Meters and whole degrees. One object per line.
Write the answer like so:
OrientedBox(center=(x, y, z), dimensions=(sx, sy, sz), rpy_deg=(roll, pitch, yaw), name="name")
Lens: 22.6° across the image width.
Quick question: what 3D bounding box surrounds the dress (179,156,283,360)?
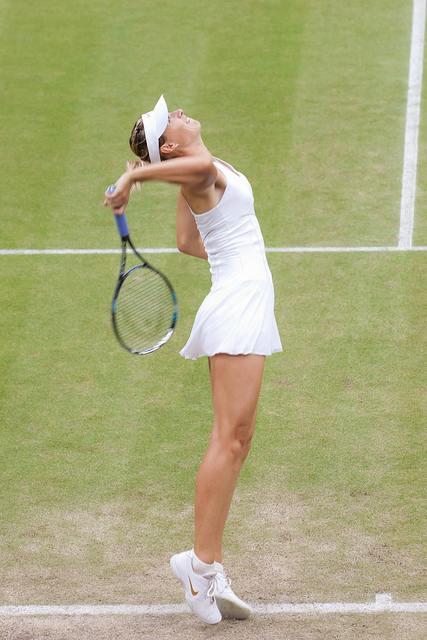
OrientedBox(center=(0.056, -0.319, 4.895), dimensions=(0.456, 0.969, 0.498), rpy_deg=(1, 11, 28), name="dress")
